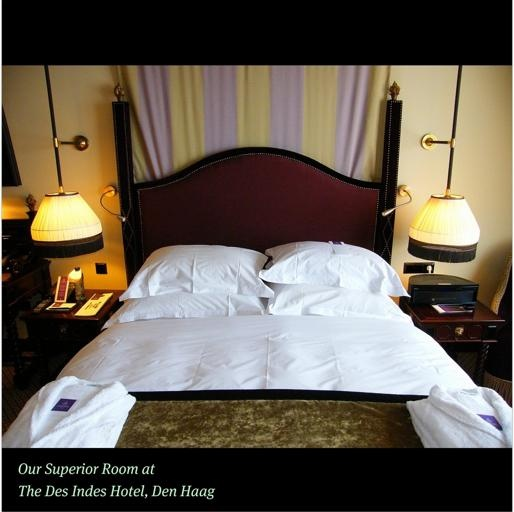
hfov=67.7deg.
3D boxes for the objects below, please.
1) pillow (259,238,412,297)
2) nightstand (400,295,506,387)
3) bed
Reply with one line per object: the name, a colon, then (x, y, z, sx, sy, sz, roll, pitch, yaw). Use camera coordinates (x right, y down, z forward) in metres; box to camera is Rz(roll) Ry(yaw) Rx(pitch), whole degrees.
pillow: (0.400, 0.062, 2.130, 0.458, 0.137, 0.431, 2, 13, -2)
nightstand: (1.156, 0.462, 2.394, 0.467, 0.556, 0.499, -1, 21, 5)
bed: (0.019, 0.032, 1.780, 1.362, 0.928, 1.375, 0, 23, 2)
